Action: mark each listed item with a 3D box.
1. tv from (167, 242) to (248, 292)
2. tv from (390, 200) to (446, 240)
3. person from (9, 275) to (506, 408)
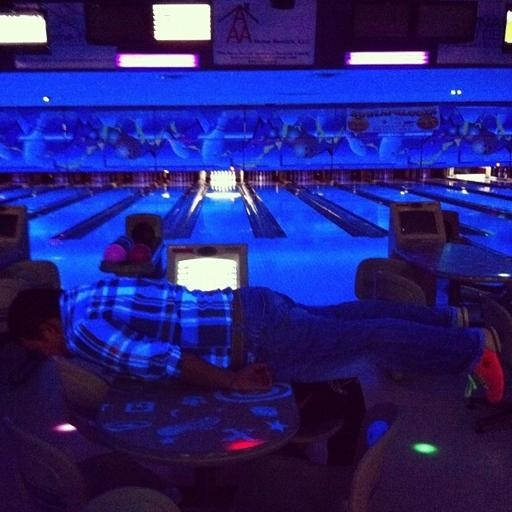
[{"bbox_3d":[-0.230,0.049,1.922,0.397,0.328,0.213,-1,-1,1],"label":"tv"},{"bbox_3d":[1.130,-0.230,2.917,0.303,0.294,0.309,0,2,1],"label":"tv"},{"bbox_3d":[-0.068,0.212,1.158,1.495,0.298,0.542,3,-5,-2],"label":"person"}]
